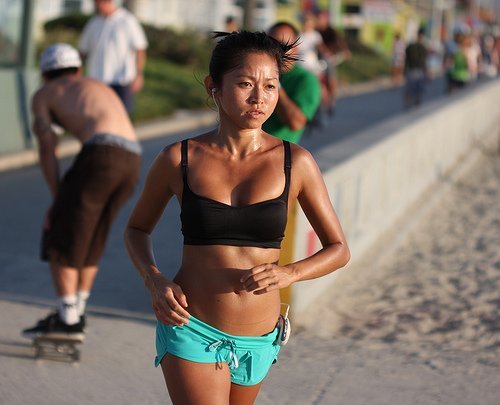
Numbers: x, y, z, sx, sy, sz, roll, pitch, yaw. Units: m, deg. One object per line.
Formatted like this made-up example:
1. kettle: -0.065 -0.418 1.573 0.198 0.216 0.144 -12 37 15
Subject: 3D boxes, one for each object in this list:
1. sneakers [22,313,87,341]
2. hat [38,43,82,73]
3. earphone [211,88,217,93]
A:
1. sneakers: -1.223 0.763 4.603 0.396 0.197 0.146 5 -10 5
2. hat: -1.174 -0.869 4.588 0.180 0.124 0.191 -4 19 29
3. earphone: -0.151 -0.476 3.140 0.022 0.025 0.006 -2 -1 12
